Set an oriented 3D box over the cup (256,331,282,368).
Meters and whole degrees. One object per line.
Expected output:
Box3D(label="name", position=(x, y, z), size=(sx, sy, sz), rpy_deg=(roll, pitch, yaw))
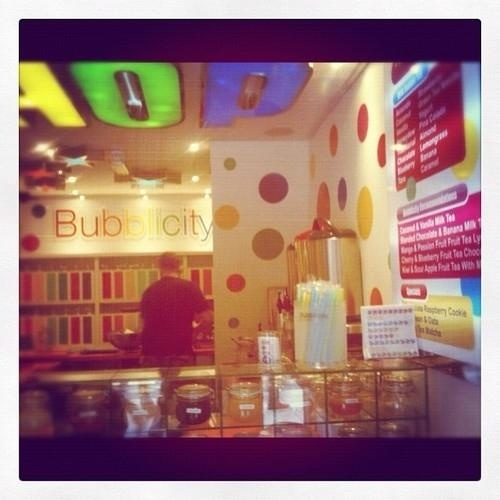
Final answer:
Box3D(label="cup", position=(0.052, 0.270, 1.342), size=(0.072, 0.146, 0.078), rpy_deg=(-1, -1, 0))
